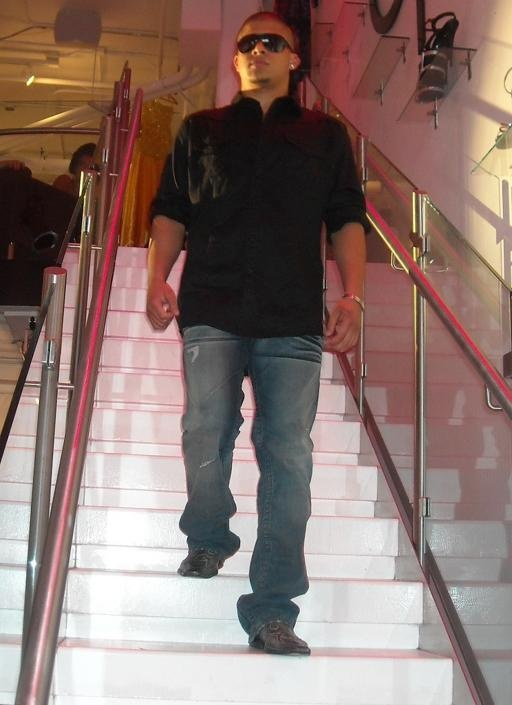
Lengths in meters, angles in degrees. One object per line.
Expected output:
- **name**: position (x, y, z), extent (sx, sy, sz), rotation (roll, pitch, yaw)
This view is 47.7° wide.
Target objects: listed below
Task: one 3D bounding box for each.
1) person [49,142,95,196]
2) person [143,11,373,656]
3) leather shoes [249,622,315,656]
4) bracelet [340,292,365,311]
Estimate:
- **person**: position (-1.736, -1.758, 5.484), extent (0.379, 0.525, 2.343), rotation (2, 17, -17)
- **person**: position (-0.048, 0.005, 1.094), extent (0.456, 0.979, 0.508), rotation (9, 15, 9)
- **leather shoes**: position (0.041, 0.468, 0.976), extent (0.056, 0.047, 0.111), rotation (24, -29, -25)
- **bracelet**: position (0.179, -0.093, 1.077), extent (0.036, 0.014, 0.031), rotation (17, 26, -50)
